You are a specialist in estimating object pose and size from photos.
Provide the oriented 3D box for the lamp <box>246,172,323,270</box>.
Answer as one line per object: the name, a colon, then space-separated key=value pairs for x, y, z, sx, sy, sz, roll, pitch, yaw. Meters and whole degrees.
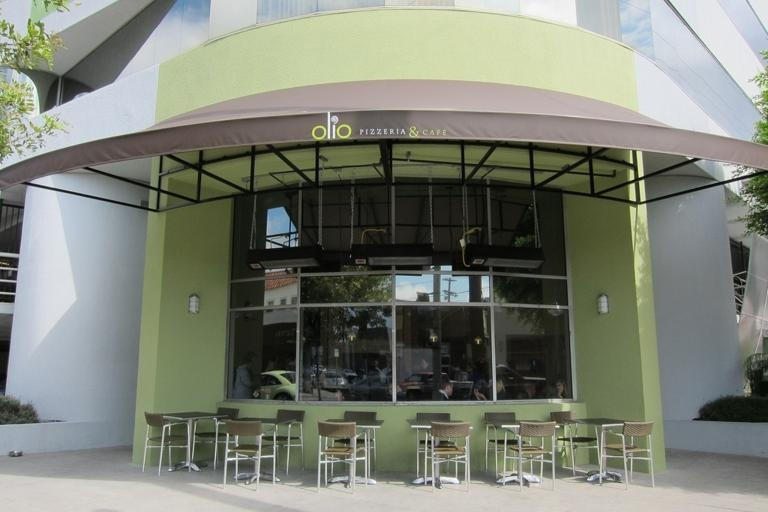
lamp: x=-2.395 y=-0.869 z=14.566 sx=2.265 sy=2.609 sz=0.899 roll=-1 pitch=-7 yaw=13

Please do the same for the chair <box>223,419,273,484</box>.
chair: x=-2.835 y=4.142 z=12.441 sx=1.016 sy=1.346 sz=1.051 roll=3 pitch=-9 yaw=-11

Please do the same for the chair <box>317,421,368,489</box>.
chair: x=-0.900 y=4.073 z=12.256 sx=0.929 sy=1.330 sz=1.029 roll=0 pitch=-9 yaw=-6

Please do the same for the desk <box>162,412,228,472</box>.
desk: x=-4.396 y=4.241 z=13.656 sx=1.383 sy=1.349 sz=1.381 roll=2 pitch=-4 yaw=-33

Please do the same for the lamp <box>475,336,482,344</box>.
lamp: x=2.230 y=1.991 z=14.083 sx=0.167 sy=0.197 sz=0.167 roll=5 pitch=5 yaw=-23

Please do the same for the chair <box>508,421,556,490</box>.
chair: x=3.099 y=4.133 z=12.554 sx=0.813 sy=1.336 sz=0.928 roll=2 pitch=-8 yaw=-6

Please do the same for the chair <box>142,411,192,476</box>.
chair: x=-4.979 y=4.226 z=13.462 sx=0.901 sy=1.240 sz=0.929 roll=7 pitch=-11 yaw=-33

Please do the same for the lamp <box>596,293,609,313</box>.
lamp: x=5.315 y=1.158 z=14.366 sx=0.266 sy=0.514 sz=0.102 roll=0 pitch=0 yaw=26

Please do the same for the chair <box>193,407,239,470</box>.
chair: x=-3.882 y=4.214 z=13.653 sx=1.011 sy=1.303 sz=0.936 roll=8 pitch=-14 yaw=-36

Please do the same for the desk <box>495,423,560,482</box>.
desk: x=3.089 y=4.152 z=12.663 sx=0.961 sy=1.443 sz=1.055 roll=3 pitch=-2 yaw=-25

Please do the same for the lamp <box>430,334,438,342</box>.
lamp: x=1.170 y=1.923 z=13.908 sx=0.150 sy=0.119 sz=0.143 roll=-4 pitch=-10 yaw=30

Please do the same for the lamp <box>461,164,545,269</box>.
lamp: x=2.788 y=-0.959 z=14.301 sx=2.175 sy=2.492 sz=0.875 roll=4 pitch=-18 yaw=-11

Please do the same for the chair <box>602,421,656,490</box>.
chair: x=5.225 y=4.219 z=12.622 sx=0.832 sy=1.316 sz=0.893 roll=5 pitch=-14 yaw=-21

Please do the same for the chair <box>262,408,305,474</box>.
chair: x=-2.292 y=4.191 z=13.403 sx=0.960 sy=1.252 sz=0.936 roll=6 pitch=-13 yaw=-34

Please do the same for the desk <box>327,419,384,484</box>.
desk: x=-0.653 y=4.243 z=12.919 sx=1.196 sy=1.341 sz=1.011 roll=-15 pitch=-6 yaw=20

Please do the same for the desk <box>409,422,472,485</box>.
desk: x=1.289 y=4.170 z=12.447 sx=1.261 sy=1.449 sz=1.308 roll=0 pitch=-7 yaw=16

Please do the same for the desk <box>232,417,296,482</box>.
desk: x=-2.757 y=4.147 z=12.652 sx=1.427 sy=1.162 sz=1.315 roll=-12 pitch=-13 yaw=38

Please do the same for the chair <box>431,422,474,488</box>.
chair: x=1.316 y=4.082 z=12.453 sx=0.809 sy=1.467 sz=0.969 roll=2 pitch=2 yaw=-1

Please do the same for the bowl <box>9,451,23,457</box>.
bowl: x=-9.095 y=4.857 z=14.517 sx=0.329 sy=0.143 sz=0.229 roll=1 pitch=0 yaw=-4
